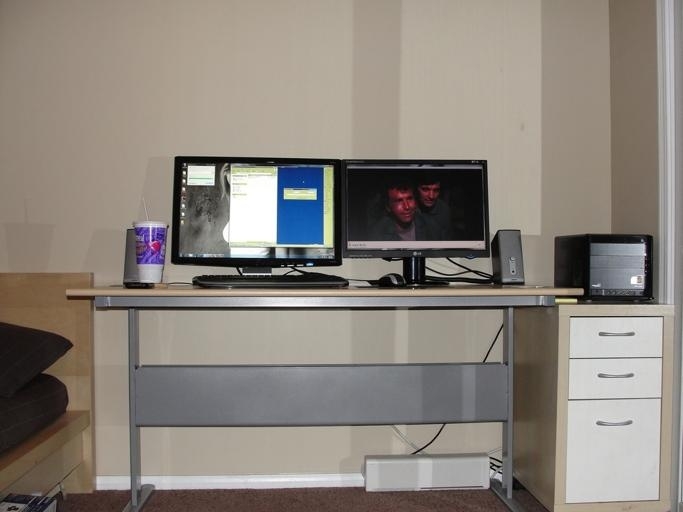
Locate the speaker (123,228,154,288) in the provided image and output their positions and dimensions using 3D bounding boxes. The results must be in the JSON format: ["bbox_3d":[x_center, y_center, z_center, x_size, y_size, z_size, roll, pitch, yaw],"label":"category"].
[{"bbox_3d":[-1.072,0.016,3.493,0.162,0.301,0.174,-7,10,-3],"label":"speaker"}]

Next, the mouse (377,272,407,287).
[{"bbox_3d":[0.244,0.116,3.355,0.121,0.060,0.174,0,3,-13],"label":"mouse"}]

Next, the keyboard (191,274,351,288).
[{"bbox_3d":[-0.332,0.118,3.253,0.728,0.066,0.212,0,3,-7],"label":"keyboard"}]

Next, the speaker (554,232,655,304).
[{"bbox_3d":[1.305,0.050,3.368,0.349,0.289,0.342,0,-1,8],"label":"speaker"}]

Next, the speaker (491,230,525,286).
[{"bbox_3d":[0.833,0.005,3.458,0.153,0.271,0.122,1,3,10],"label":"speaker"}]

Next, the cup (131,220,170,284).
[{"bbox_3d":[-0.920,-0.014,3.345,0.152,0.300,0.127,0,3,-12],"label":"cup"}]
